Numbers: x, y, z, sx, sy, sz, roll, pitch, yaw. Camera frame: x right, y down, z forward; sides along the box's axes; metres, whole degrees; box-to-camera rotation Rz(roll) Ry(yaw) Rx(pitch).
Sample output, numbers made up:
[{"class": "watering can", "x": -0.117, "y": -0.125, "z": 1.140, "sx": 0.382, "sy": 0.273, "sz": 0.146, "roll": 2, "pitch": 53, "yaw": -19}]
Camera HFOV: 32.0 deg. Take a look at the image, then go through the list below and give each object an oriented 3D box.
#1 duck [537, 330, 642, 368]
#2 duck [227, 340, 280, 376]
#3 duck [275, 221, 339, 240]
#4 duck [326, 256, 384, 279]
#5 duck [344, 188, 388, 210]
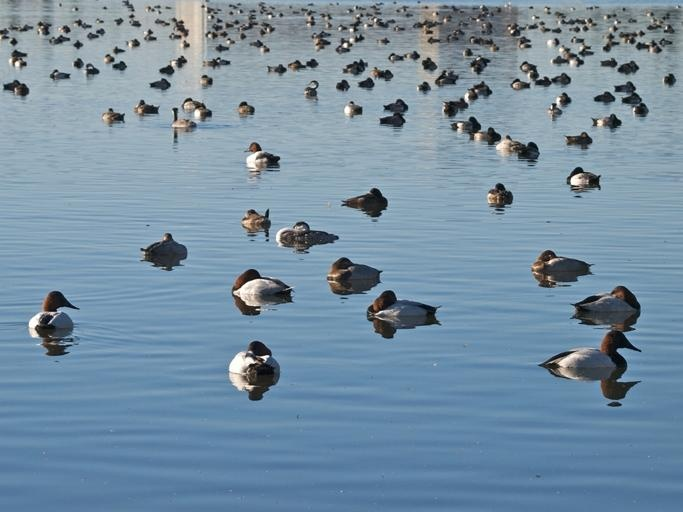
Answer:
[{"class": "duck", "x": 5.856, "y": 2.238, "z": 28.576, "sx": 2.832, "sy": 0.775, "sz": 0.927, "roll": -1, "pitch": -75, "yaw": -7}, {"class": "duck", "x": -1.998, "y": 2.384, "z": 27.833, "sx": 1.153, "sy": 1.081, "sz": 0.517, "roll": 2, "pitch": -51, "yaw": -3}, {"class": "duck", "x": -1.108, "y": -0.810, "z": 38.202, "sx": 1.837, "sy": 0.884, "sz": 0.529, "roll": 2, "pitch": -51, "yaw": -3}, {"class": "duck", "x": 0.361, "y": 0.345, "z": 33.984, "sx": 1.267, "sy": 0.657, "sz": 0.416, "roll": 3, "pitch": -91, "yaw": 5}, {"class": "duck", "x": 0.881, "y": -2.004, "z": 42.662, "sx": 1.492, "sy": 0.852, "sz": 0.678, "roll": -5, "pitch": -50, "yaw": 3}]
